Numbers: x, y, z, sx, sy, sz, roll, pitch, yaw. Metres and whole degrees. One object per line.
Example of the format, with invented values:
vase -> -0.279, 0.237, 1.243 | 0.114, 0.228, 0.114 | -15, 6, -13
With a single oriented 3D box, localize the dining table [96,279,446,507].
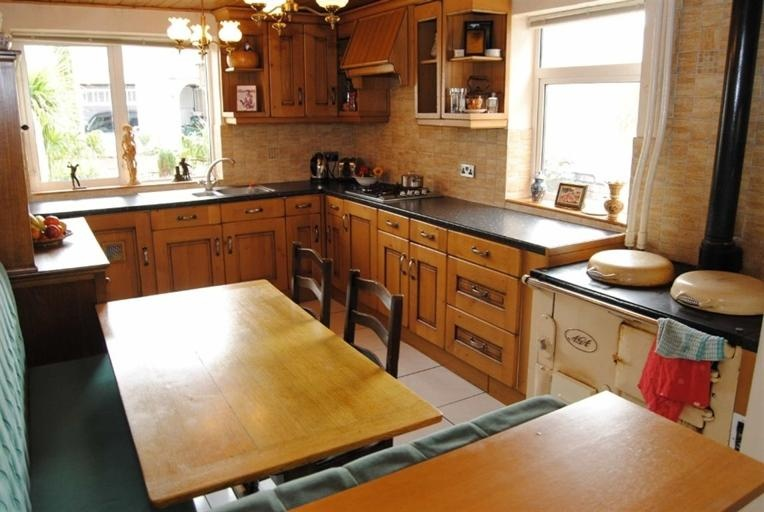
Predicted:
dining table -> -0.555, 0.409, 2.150 | 0.769, 0.331, 1.408 | -14, 26, -27

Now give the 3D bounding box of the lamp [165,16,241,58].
lamp -> -1.208, -1.468, 3.557 | 0.407, 0.230, 0.355 | -4, 3, -17

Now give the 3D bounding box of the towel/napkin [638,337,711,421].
towel/napkin -> 1.418, 0.618, 2.561 | 0.168, 0.403, 0.313 | -5, 16, -30

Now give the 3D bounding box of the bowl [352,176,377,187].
bowl -> -0.168, -0.773, 5.307 | 0.162, 0.061, 0.139 | 12, 17, 42

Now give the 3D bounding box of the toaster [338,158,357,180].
toaster -> -0.405, -0.976, 5.853 | 0.201, 0.222, 0.138 | 0, 18, 1

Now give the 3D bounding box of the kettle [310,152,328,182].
kettle -> -0.690, -0.968, 5.703 | 0.273, 0.343, 0.222 | 1, 9, -10

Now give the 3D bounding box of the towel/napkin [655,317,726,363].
towel/napkin -> 1.461, 0.409, 2.504 | 0.130, 0.172, 0.293 | -4, 12, -39

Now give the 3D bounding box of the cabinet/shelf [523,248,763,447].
cabinet/shelf -> 1.547, 0.516, 2.994 | 0.806, 1.113, 1.162 | -8, 20, -28

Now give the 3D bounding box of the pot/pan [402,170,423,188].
pot/pan -> 0.297, -0.747, 5.096 | 0.154, 0.133, 0.191 | -4, 17, -19
